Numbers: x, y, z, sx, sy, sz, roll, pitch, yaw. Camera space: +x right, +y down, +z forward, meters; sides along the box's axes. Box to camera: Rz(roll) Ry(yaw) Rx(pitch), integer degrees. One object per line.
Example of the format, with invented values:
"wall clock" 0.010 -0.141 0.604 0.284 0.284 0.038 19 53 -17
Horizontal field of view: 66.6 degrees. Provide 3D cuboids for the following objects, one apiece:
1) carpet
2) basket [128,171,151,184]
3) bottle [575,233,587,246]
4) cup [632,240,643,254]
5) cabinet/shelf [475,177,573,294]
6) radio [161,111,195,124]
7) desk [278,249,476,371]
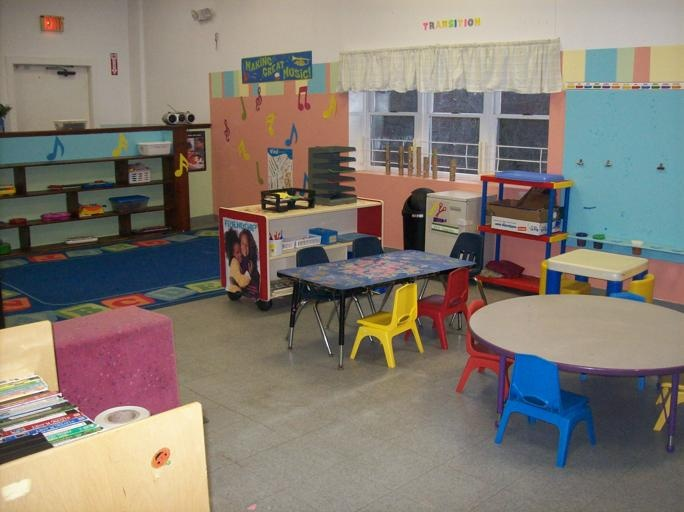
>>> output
"carpet" -3.196 0.236 7.661 3.192 0.267 3.460 -8 14 -24
"basket" -3.714 -1.452 9.539 0.228 0.202 0.410 6 11 28
"bottle" 2.992 -0.215 6.503 0.093 0.137 0.124 -16 24 -39
"cup" 3.473 -0.111 6.115 0.128 0.114 0.126 -2 17 1
"cabinet/shelf" 2.283 -0.262 6.453 0.686 1.764 1.158 -12 18 -39
"radio" -3.187 -2.697 10.269 0.330 0.243 0.640 6 15 31
"desk" 0.280 0.491 5.282 1.762 0.827 0.901 -7 13 -20
